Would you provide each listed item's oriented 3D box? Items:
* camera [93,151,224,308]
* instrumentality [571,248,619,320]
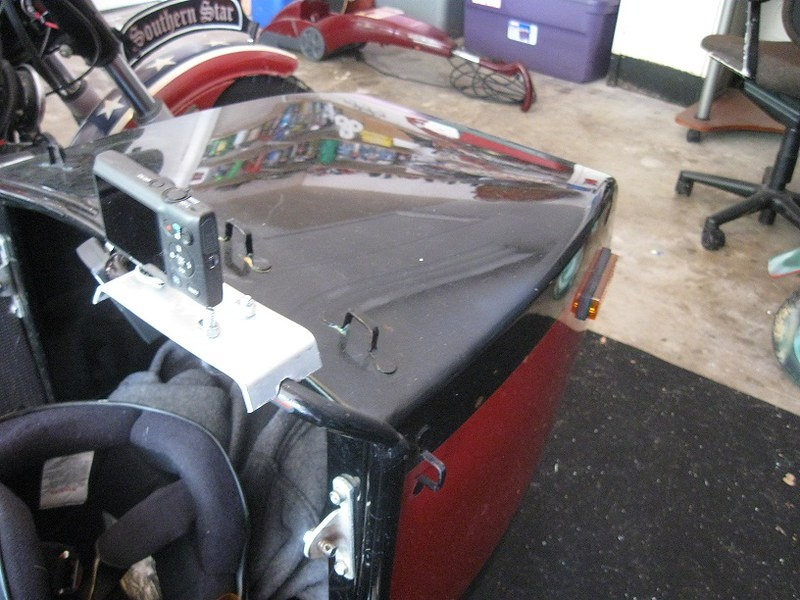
[{"bbox_3d":[-0.395,-0.115,0.970,0.266,0.175,0.062,27,33,25],"label":"camera"},{"bbox_3d":[0.478,-0.067,1.476,0.080,0.056,0.214,31,66,-21],"label":"instrumentality"}]
